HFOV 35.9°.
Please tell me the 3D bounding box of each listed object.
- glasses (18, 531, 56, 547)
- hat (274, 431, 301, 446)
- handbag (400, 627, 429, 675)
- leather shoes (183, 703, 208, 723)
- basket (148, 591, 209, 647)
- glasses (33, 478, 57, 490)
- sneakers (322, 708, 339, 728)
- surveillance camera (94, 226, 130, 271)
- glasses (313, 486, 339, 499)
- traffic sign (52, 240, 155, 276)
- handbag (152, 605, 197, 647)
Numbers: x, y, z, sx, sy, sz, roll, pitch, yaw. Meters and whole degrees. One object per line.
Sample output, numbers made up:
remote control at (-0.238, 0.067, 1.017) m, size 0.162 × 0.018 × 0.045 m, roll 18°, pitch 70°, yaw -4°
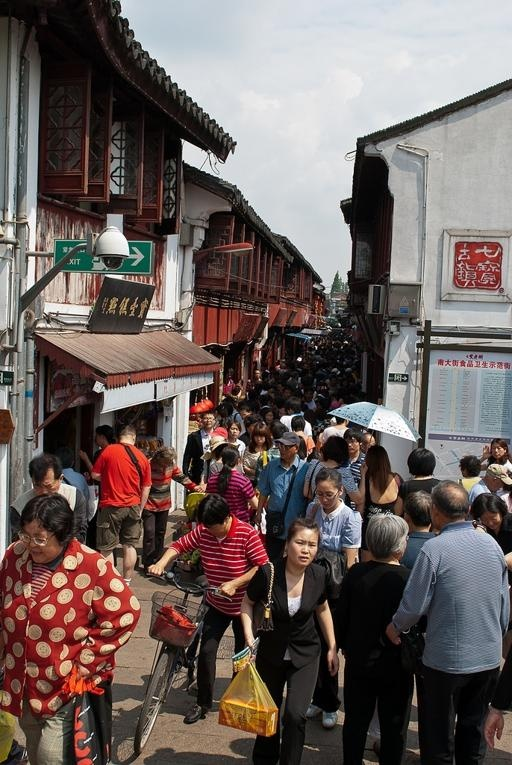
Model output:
glasses at (-0.882, 0.632, 3.102) m, size 0.121 × 0.051 × 0.046 m, roll 2°, pitch 1°, yaw 9°
hat at (0.296, 0.490, 6.634) m, size 0.104 × 0.071 × 0.148 m, roll -3°, pitch -13°, yaw 32°
handbag at (0.725, 1.261, 3.669) m, size 0.107 × 0.146 × 0.093 m, roll 2°, pitch 1°, yaw 9°
leather shoes at (-0.367, 2.041, 4.795) m, size 0.067 × 0.072 × 0.178 m, roll 1°, pitch -12°, yaw 24°
basket at (-0.462, 1.338, 4.528) m, size 0.301 × 0.244 × 0.370 m, roll 22°, pitch -8°, yaw -14°
glasses at (-1.251, 0.629, 4.679) m, size 0.097 × 0.043 × 0.099 m, roll 1°, pitch -11°, yaw -1°
sneakers at (0.444, 2.064, 4.780) m, size 0.079 × 0.081 × 0.211 m, roll -1°, pitch -16°, yaw 3°
surveillance camera at (-1.177, -1.100, 6.339) m, size 0.261 × 0.338 × 0.314 m, roll 2°, pitch 1°, yaw -14°
glasses at (0.451, 0.747, 5.147) m, size 0.108 × 0.064 × 0.127 m, roll -2°, pitch -26°, yaw 21°
traffic sign at (-1.416, -1.125, 7.177) m, size 0.674 × 0.224 × 0.085 m, roll 1°, pitch 2°, yaw 1°
handbag at (-0.453, 1.384, 4.410) m, size 0.240 × 0.249 × 0.172 m, roll 2°, pitch 1°, yaw 16°
